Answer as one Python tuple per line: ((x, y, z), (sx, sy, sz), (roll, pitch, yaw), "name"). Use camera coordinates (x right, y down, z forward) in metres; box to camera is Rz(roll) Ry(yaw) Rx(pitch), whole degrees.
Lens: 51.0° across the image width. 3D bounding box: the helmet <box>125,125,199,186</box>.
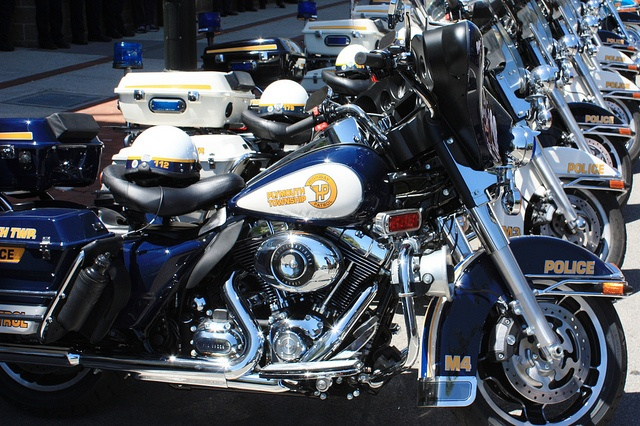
((-1.148, -0.424, 4.901), (0.515, 0.520, 0.652), (1, 14, -9), "helmet")
